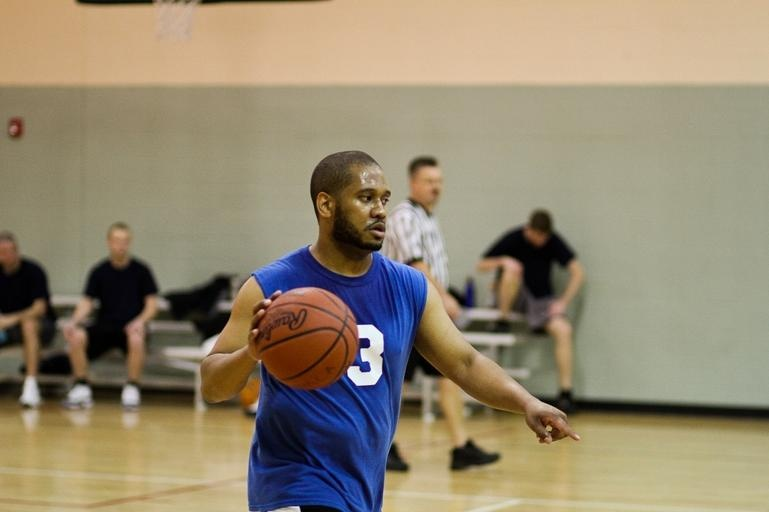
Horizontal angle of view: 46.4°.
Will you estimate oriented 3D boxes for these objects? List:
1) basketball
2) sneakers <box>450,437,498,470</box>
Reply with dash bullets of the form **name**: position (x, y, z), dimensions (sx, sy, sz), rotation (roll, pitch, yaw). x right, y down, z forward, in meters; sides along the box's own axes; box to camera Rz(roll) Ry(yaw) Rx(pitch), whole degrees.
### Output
- **basketball**: position (-0.277, 0.303, 3.179), dimensions (0.306, 0.338, 0.333), rotation (11, -36, -8)
- **sneakers**: position (0.634, 1.300, 5.914), dimensions (0.405, 0.242, 0.142), rotation (-2, 1, -2)
